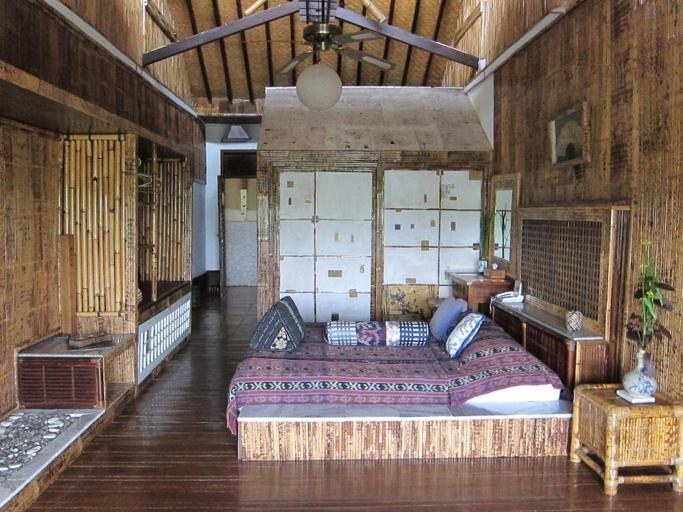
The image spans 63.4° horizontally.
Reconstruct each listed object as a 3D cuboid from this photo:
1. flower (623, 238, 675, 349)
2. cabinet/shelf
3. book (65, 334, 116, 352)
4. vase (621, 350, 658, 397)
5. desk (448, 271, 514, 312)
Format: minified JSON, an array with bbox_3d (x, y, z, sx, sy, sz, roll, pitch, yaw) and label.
[{"bbox_3d":[2.311,0.321,4.164,0.228,0.844,0.420,-1,8,-7],"label":"flower"},{"bbox_3d":[-2.514,0.019,6.678,0.841,2.634,2.772,2,5,-6],"label":"cabinet/shelf"},{"bbox_3d":[-2.295,0.780,5.067,0.382,0.069,0.518,-4,10,-24],"label":"book"},{"bbox_3d":[2.188,0.889,4.107,0.242,0.367,0.250,-3,3,10],"label":"vase"},{"bbox_3d":[1.628,0.343,6.584,0.420,0.646,0.654,1,10,0],"label":"desk"}]
